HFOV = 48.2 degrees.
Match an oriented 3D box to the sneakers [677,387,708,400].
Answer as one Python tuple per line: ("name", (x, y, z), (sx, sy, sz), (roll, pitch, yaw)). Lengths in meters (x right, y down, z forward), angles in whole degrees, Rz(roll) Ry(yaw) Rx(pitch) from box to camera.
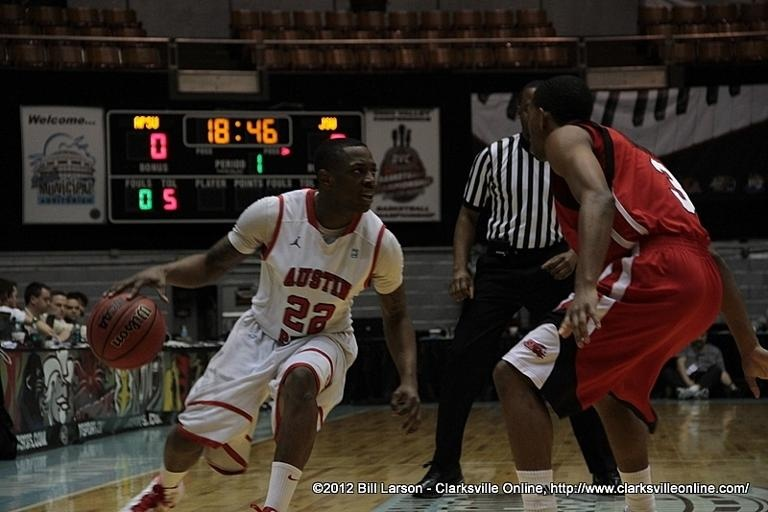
("sneakers", (4.197, 1.856, 11.671), (0.285, 0.142, 0.197), (-1, -7, 7))

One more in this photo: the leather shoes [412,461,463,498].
("leather shoes", (0.404, 1.643, 6.338), (0.389, 0.224, 0.186), (-6, -7, -16))
